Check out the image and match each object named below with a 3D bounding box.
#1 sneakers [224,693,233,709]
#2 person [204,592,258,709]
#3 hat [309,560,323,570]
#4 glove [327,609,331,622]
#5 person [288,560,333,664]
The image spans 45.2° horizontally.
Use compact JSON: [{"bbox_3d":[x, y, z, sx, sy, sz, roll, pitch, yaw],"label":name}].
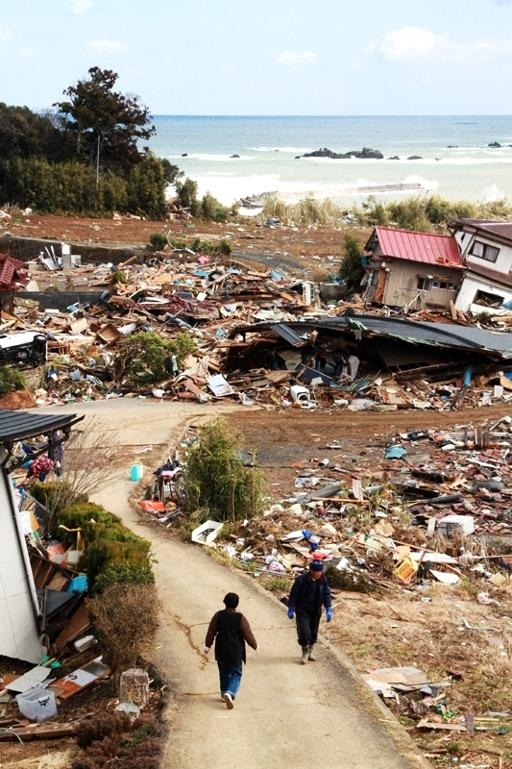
[{"bbox_3d":[-0.251,2.947,5.742,0.060,0.179,0.074,-10,26,10],"label":"sneakers"},{"bbox_3d":[-0.241,2.492,5.886,0.466,1.112,0.450,7,7,-1],"label":"person"},{"bbox_3d":[0.646,1.908,6.553,0.110,0.089,0.116,2,-1,-6],"label":"hat"},{"bbox_3d":[0.758,2.431,6.493,0.034,0.118,0.129,7,7,-1],"label":"glove"},{"bbox_3d":[0.568,2.434,6.693,0.452,1.195,0.515,8,7,5],"label":"person"}]
